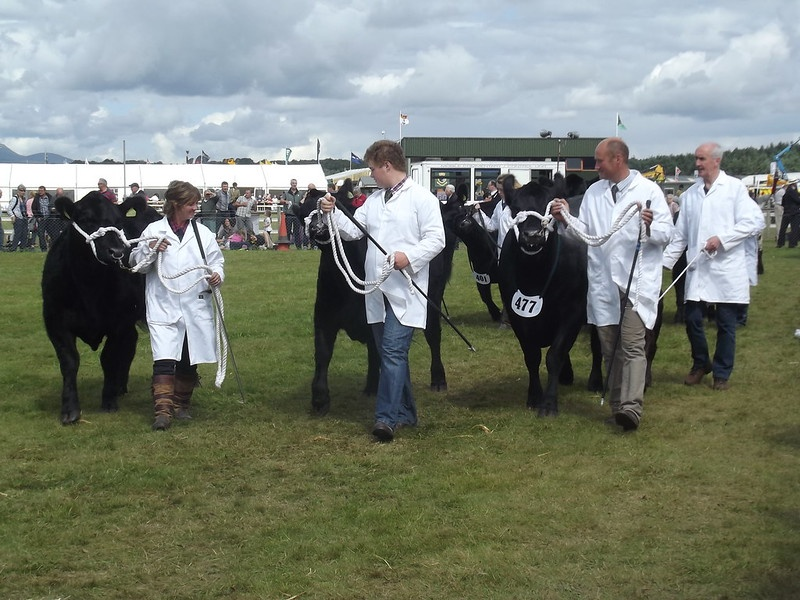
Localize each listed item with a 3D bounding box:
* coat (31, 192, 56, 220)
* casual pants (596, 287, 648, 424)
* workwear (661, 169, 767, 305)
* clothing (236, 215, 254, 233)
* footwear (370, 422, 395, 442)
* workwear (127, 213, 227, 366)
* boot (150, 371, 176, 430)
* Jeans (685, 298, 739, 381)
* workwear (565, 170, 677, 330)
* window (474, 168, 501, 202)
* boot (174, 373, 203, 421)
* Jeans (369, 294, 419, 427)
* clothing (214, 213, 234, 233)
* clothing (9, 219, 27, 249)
[{"bbox_3d":[-8.553,-2.224,21.530,0.481,0.641,0.998,-6,16,-23],"label":"coat"},{"bbox_3d":[1.957,0.537,7.922,0.372,1.152,0.712,0,14,3],"label":"casual pants"},{"bbox_3d":[3.217,-0.648,9.260,0.960,1.453,0.673,-3,-3,37],"label":"workwear"},{"bbox_3d":[-4.032,-1.965,23.286,0.370,0.303,0.859,7,-10,-3],"label":"clothing"},{"bbox_3d":[-0.144,1.112,7.711,0.190,0.216,0.291,-1,15,-2],"label":"footwear"},{"bbox_3d":[-1.994,-0.068,8.127,0.818,1.274,0.593,-5,14,-19],"label":"workwear"},{"bbox_3d":[-2.111,0.895,8.011,0.166,0.462,0.295,0,14,-1],"label":"boot"},{"bbox_3d":[3.175,0.405,9.232,0.349,0.841,0.565,-12,18,-40],"label":"Jeans"},{"bbox_3d":[1.920,-0.426,8.004,0.847,1.444,0.732,4,13,29],"label":"workwear"},{"bbox_3d":[2.622,-3.564,27.699,0.724,0.857,1.523,1,15,5],"label":"window"},{"bbox_3d":[-1.970,0.881,8.258,0.224,0.427,0.133,-9,16,-34],"label":"boot"},{"bbox_3d":[-0.046,0.598,7.761,0.377,1.221,0.554,-1,14,-2],"label":"Jeans"},{"bbox_3d":[-4.480,-1.941,22.970,0.316,0.499,0.171,4,-3,-6],"label":"clothing"},{"bbox_3d":[-9.270,-1.585,21.939,0.407,0.801,0.534,-8,16,-28],"label":"clothing"}]
